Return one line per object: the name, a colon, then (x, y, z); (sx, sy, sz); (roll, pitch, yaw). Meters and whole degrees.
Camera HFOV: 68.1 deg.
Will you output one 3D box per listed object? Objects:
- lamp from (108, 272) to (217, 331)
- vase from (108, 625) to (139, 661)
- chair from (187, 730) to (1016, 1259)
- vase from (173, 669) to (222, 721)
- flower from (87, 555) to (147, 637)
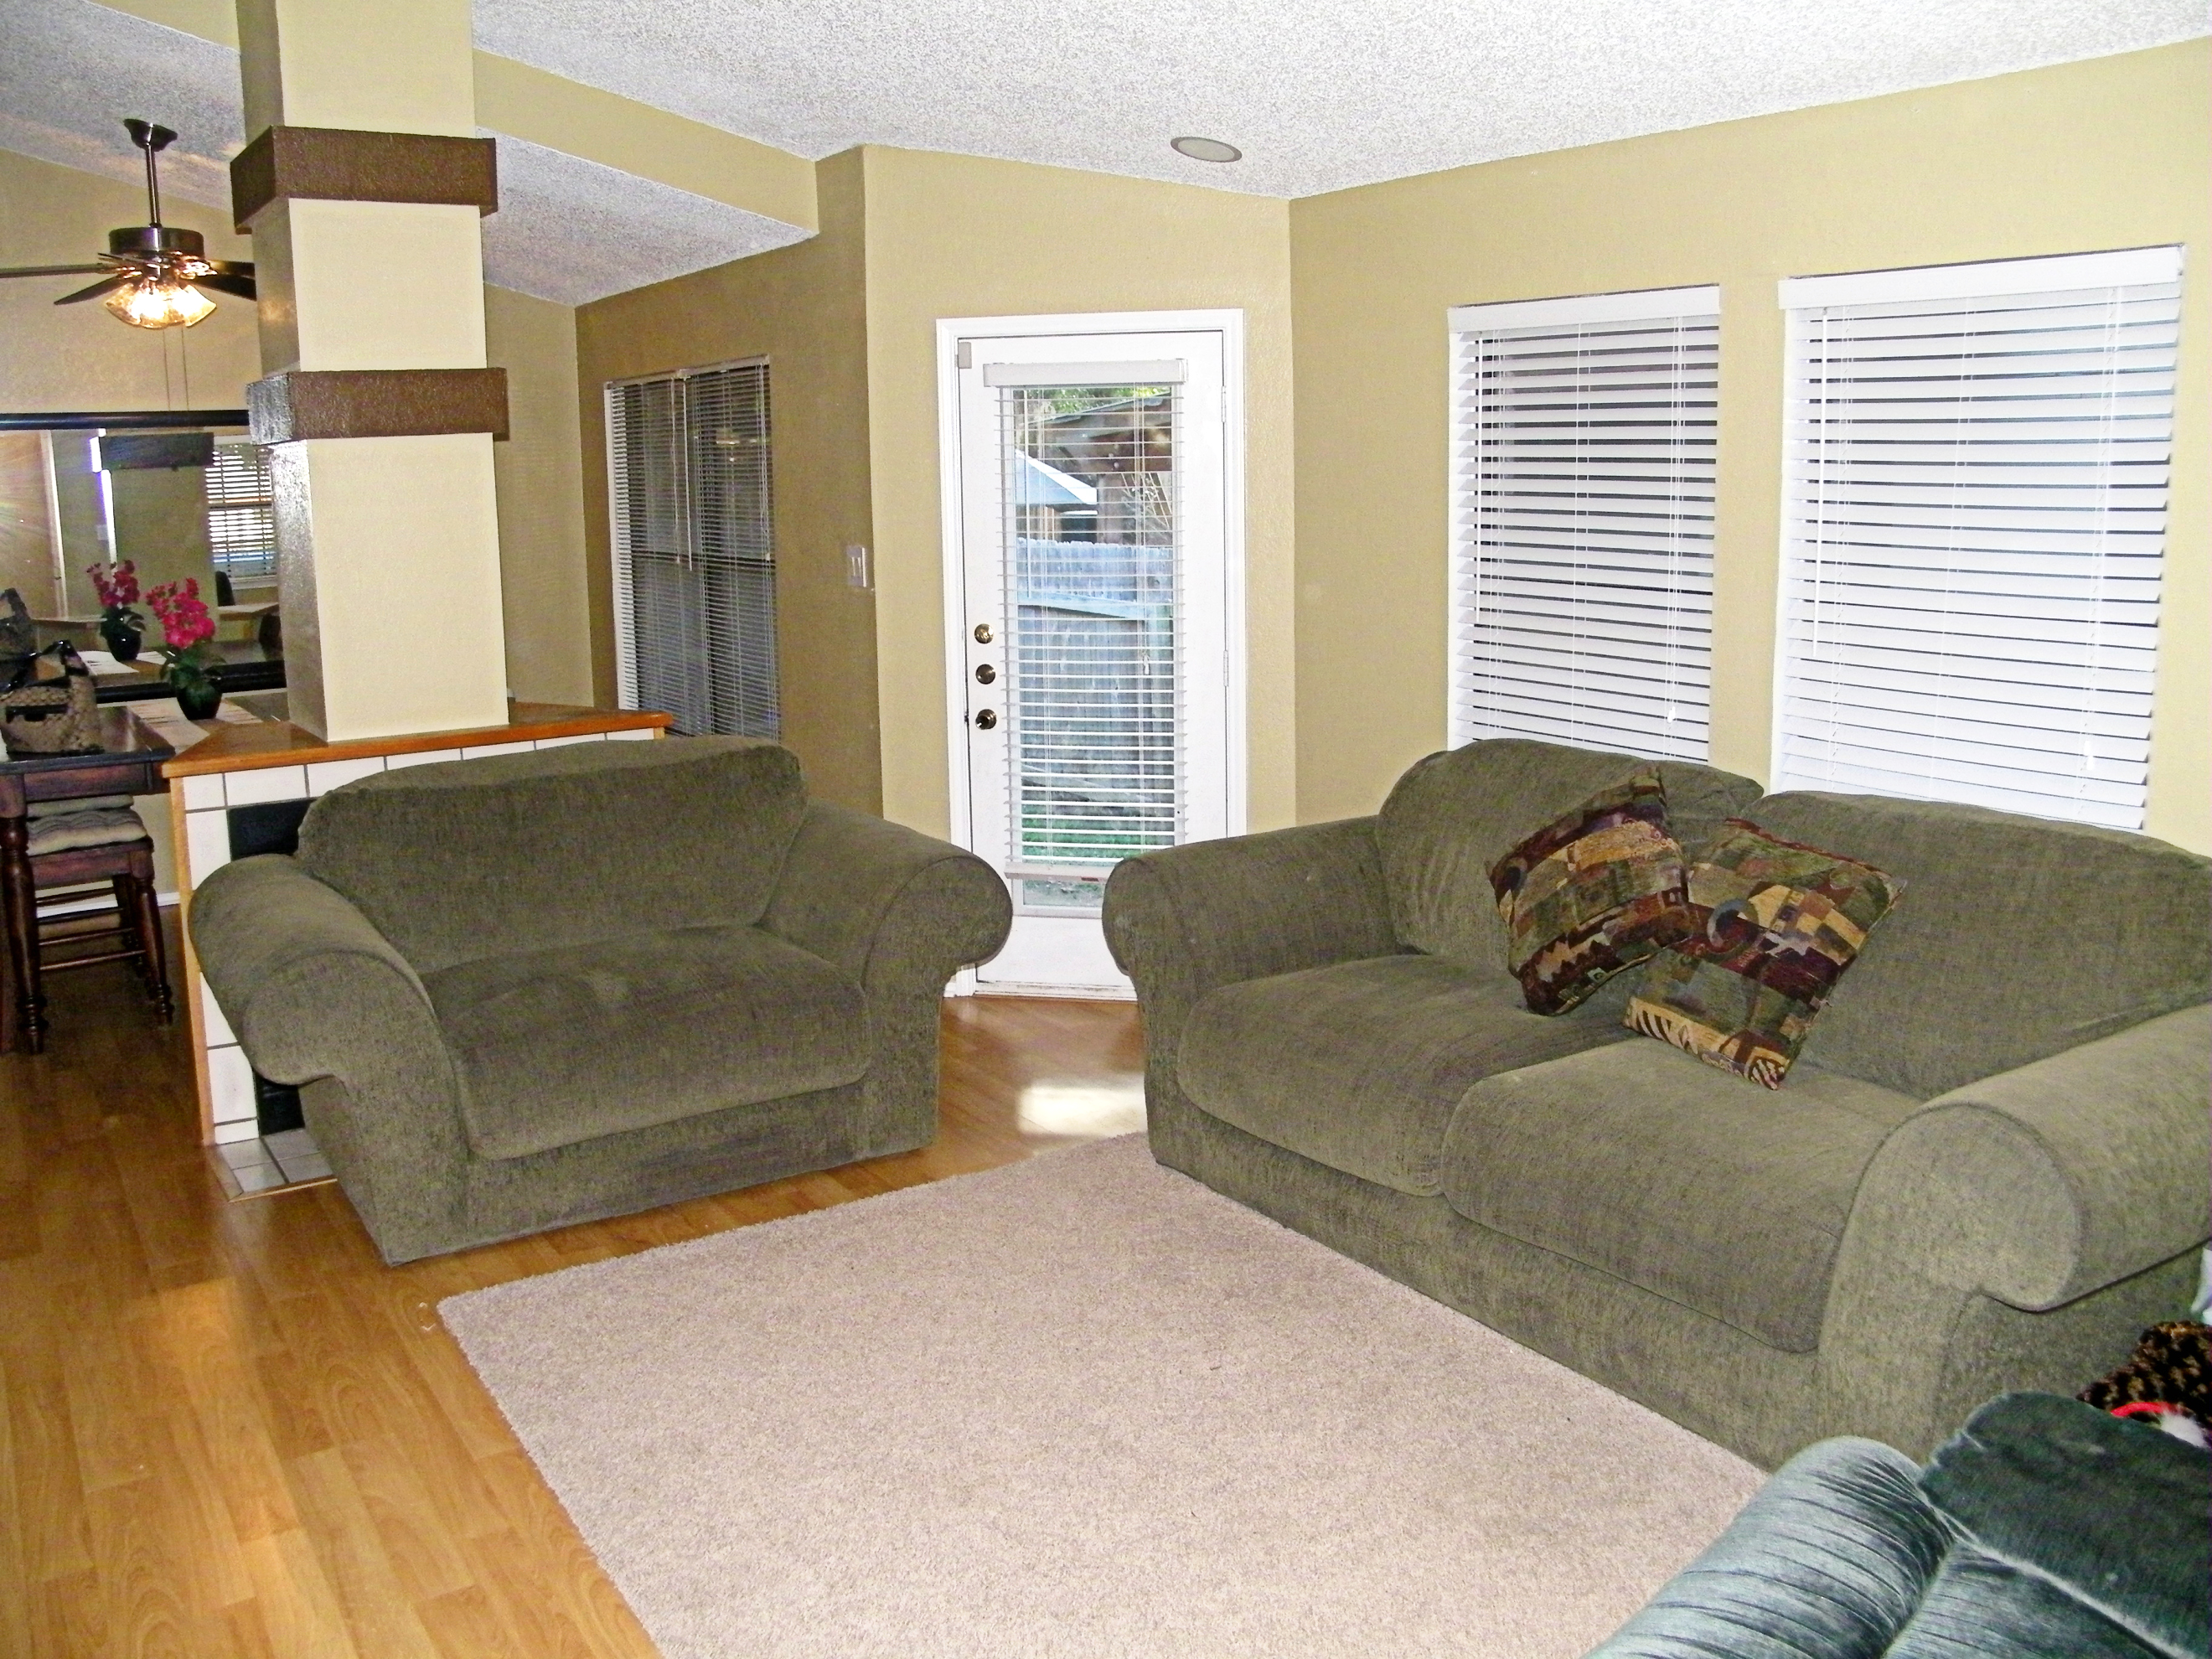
lamp: (-3.442, -1.911, 5.971); (0.352, 0.089, 0.320); (-4, -3, 33)
vase: (-4.034, -0.757, 6.714); (0.131, 0.135, 0.126); (3, -2, -11)
chair: (-1.322, 0.360, 4.333); (1.880, 0.926, 1.011); (-8, 20, -35)
vase: (-3.070, -0.438, 5.539); (0.161, 0.169, 0.160); (5, -7, -15)
flower: (-4.049, -0.961, 6.687); (0.179, 0.285, 0.314); (-8, 13, -30)
